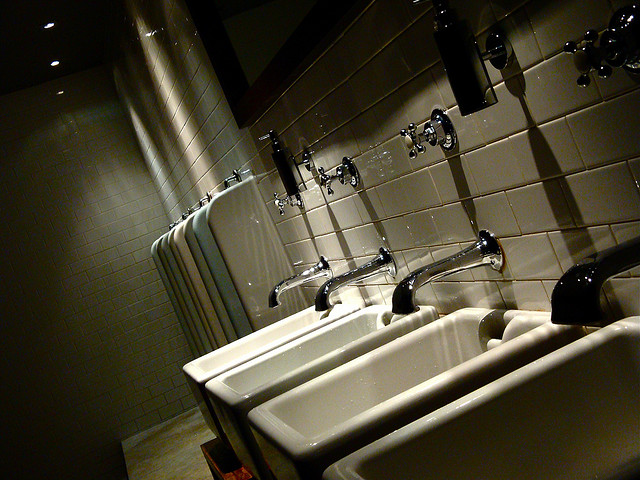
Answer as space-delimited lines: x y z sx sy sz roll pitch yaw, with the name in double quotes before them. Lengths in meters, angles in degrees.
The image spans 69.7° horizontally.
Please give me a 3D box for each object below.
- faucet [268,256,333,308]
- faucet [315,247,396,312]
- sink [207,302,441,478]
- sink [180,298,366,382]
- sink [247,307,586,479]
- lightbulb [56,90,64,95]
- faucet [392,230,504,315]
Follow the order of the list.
"faucet" -0.080 0.175 1.870 0.299 0.152 0.084 -28 24 -22
"faucet" 0.079 0.104 1.395 0.255 0.141 0.149 -27 19 -19
"sink" 0.035 0.353 1.364 0.681 0.251 0.489 -27 11 -17
"sink" -0.232 0.408 1.785 0.511 0.128 0.366 -26 4 -20
"sink" 0.172 0.230 0.936 0.557 0.224 0.313 -21 10 -32
"lightbulb" -2.392 -1.350 4.223 0.069 0.041 0.022 -11 21 -31
"faucet" 0.271 0.062 1.068 0.315 0.161 0.133 -20 10 -27
